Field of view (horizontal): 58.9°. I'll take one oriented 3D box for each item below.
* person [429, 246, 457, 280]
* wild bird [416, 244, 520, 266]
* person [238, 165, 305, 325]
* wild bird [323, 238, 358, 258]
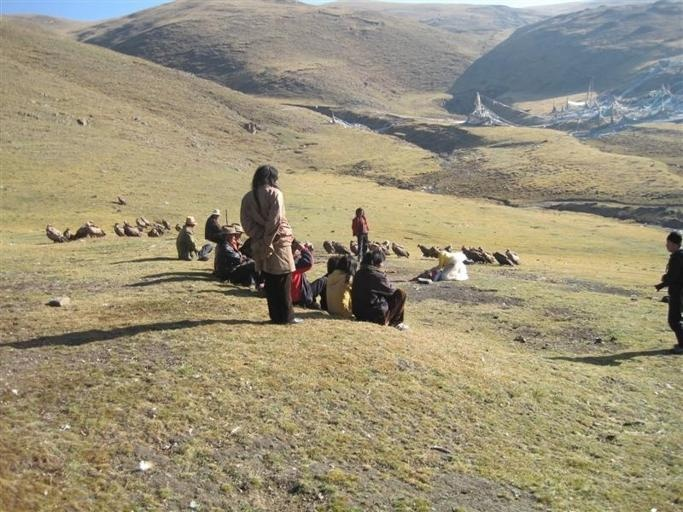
[{"bbox_3d":[3.458,0.275,19.850,1.137,0.871,1.034,-1,-3,8],"label":"person"},{"bbox_3d":[4.790,-0.079,23.549,3.347,0.960,0.572,5,19,12],"label":"wild bird"},{"bbox_3d":[-1.342,-0.188,11.383,1.090,3.001,0.658,1,13,-6],"label":"person"},{"bbox_3d":[-0.245,-0.344,22.809,1.011,0.285,0.881,5,7,-23],"label":"wild bird"}]
